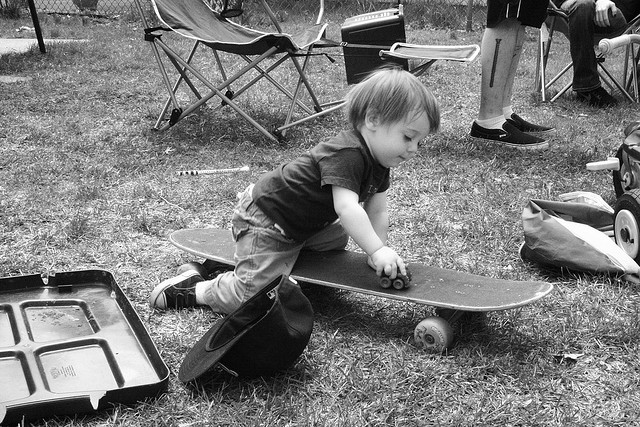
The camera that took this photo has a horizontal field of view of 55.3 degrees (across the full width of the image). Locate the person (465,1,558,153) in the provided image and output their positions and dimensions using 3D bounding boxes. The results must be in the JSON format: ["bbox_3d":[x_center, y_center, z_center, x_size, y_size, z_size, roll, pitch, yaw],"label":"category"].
[{"bbox_3d":[1.443,-1.028,4.576,0.618,1.052,0.444,5,25,12],"label":"person"}]

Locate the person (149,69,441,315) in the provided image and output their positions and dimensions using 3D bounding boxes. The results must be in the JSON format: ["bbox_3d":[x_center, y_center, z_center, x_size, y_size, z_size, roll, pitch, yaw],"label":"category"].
[{"bbox_3d":[-0.086,-0.090,2.913,1.221,1.087,0.578,4,25,11],"label":"person"}]

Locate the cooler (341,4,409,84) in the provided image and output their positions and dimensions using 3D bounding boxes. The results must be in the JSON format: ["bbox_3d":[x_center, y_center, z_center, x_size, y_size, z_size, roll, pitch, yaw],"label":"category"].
[{"bbox_3d":[0.448,-1.366,5.119,0.541,0.668,0.545,2,25,6],"label":"cooler"}]
